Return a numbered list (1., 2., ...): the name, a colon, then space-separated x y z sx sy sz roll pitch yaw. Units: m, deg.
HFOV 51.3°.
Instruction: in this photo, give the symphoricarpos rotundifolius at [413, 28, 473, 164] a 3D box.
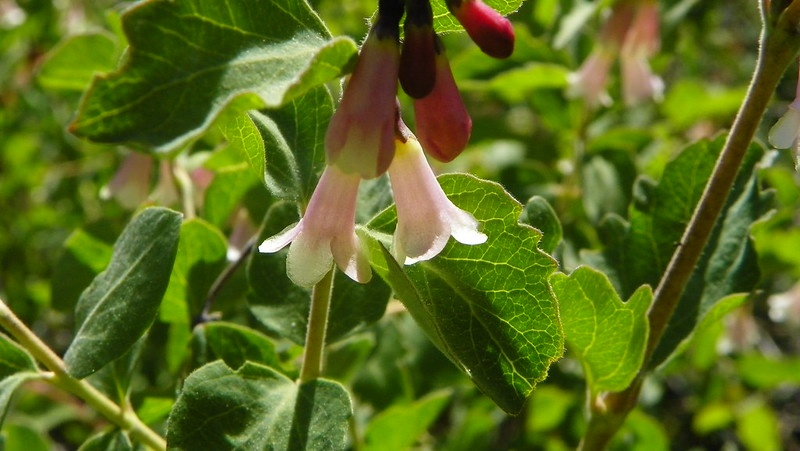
1. symphoricarpos rotundifolius: 0.129 -0.340 2.233 0.171 0.330 0.107 -11 12 -41
